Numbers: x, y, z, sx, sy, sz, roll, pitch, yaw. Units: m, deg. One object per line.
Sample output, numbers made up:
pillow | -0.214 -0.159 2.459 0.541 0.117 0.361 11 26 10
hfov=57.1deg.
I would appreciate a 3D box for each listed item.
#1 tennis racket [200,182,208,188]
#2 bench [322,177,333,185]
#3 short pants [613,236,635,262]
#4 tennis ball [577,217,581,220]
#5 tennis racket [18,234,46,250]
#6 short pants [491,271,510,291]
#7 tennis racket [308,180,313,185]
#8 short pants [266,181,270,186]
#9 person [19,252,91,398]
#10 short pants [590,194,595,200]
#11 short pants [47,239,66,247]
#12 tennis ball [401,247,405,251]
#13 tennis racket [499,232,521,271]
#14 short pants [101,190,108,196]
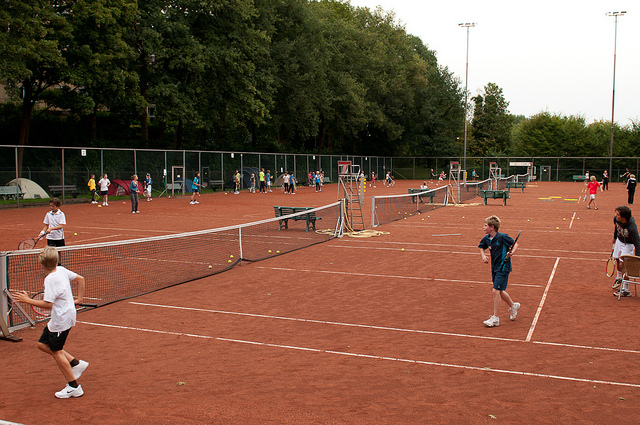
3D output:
tennis racket | -8.993 -2.134 45.672 0.685 0.137 0.634 3 27 -6
bench | 0.775 -3.364 63.153 0.700 0.918 0.682 4 30 0
short pants | 7.258 0.893 14.041 0.309 0.491 0.503 4 10 -21
tennis ball | 12.263 0.313 27.905 0.136 0.083 0.152 0 4 1
tennis racket | -8.966 0.950 18.340 0.330 0.086 0.840 -38 -8 11
short pants | 3.761 1.419 12.385 0.374 0.605 0.463 1 -4 25
tennis racket | -0.922 -2.935 58.129 0.372 0.509 0.524 -1 14 0
short pants | -4.273 -2.311 48.666 0.209 0.368 0.495 -2 13 -4
person | -4.373 1.893 9.997 0.834 2.401 0.887 -8 16 -27
short pants | 14.617 -0.826 31.637 0.261 0.413 0.454 2 -2 28
short pants | -7.137 0.912 15.964 0.396 0.263 0.212 1 -3 -35
tennis ball | 2.747 1.246 19.548 0.079 0.068 0.187 2 1 0
tennis racket | 4.635 1.007 14.333 0.108 1.268 0.142 34 0 23
short pants | -12.455 -1.092 34.042 0.320 0.222 0.301 -1 4 -28
